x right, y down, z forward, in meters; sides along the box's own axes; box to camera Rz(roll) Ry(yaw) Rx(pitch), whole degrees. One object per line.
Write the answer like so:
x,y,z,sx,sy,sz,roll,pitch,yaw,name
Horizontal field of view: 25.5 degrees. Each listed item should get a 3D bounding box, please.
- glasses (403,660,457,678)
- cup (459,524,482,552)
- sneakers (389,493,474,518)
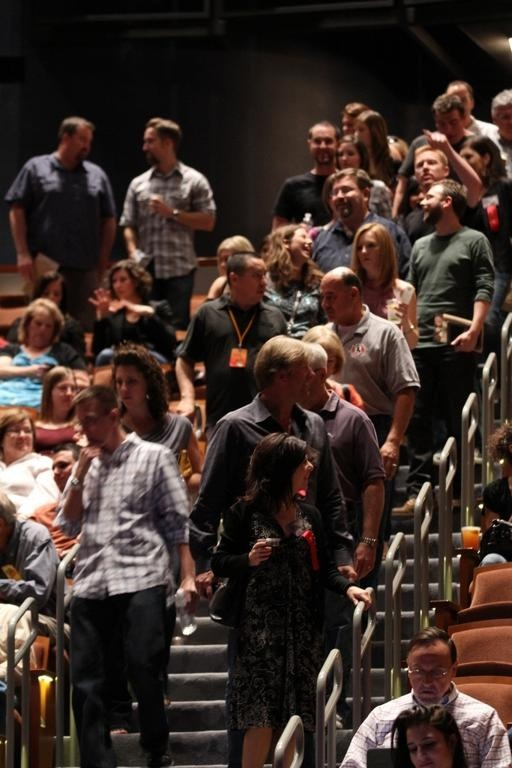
0.488,0.805,3.201,0.125,0.038,0.053,2,0,22,glasses
0.939,0.664,4.939,0.115,0.099,0.104,4,-9,-25,cup
0.915,0.600,5.645,0.463,0.155,0.124,0,1,-13,sneakers
